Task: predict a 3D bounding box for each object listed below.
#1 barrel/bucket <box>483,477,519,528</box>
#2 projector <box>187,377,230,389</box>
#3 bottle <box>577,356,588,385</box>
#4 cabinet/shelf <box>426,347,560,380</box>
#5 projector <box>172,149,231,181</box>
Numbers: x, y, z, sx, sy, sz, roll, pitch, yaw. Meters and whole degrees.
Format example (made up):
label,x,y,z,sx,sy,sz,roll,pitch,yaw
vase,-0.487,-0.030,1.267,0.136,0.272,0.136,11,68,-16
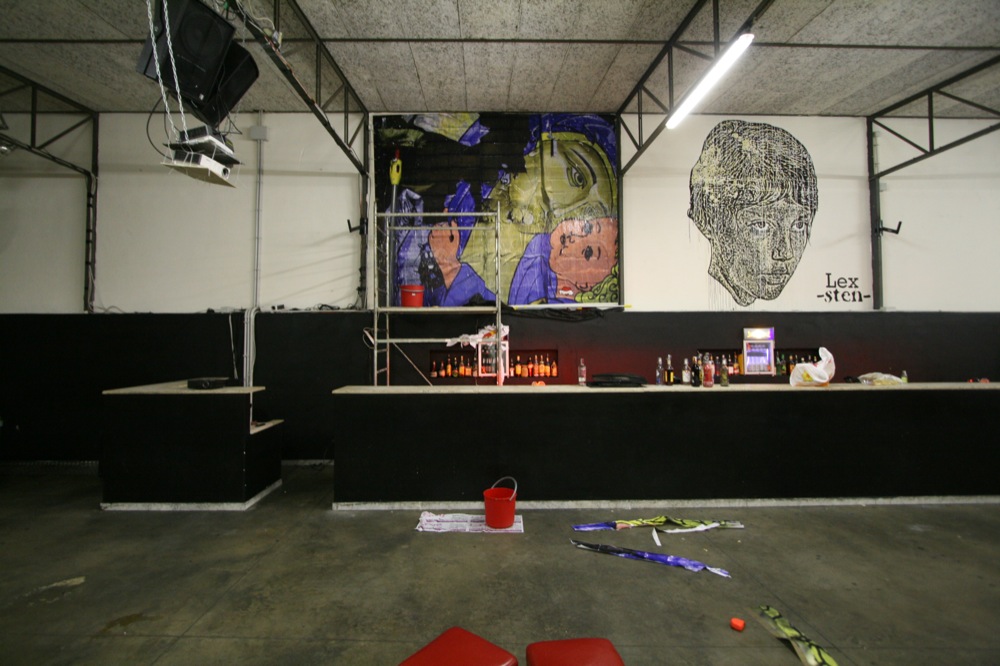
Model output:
label,x,y,z,sx,sy,sz,roll,pitch,yaw
barrel/bucket,-0.007,2.026,9.098,0.468,0.533,0.332,-3,-12,30
projector,-3.828,0.657,10.073,0.427,0.126,0.926,-1,-1,-13
bottle,1.197,0.548,11.160,0.149,0.297,0.207,-1,-1,-3
cabinet/shelf,-0.108,0.457,11.233,1.876,0.351,0.298,-1,-1,7
projector,-3.470,-1.923,8.839,0.655,0.303,0.414,-1,-1,-18
